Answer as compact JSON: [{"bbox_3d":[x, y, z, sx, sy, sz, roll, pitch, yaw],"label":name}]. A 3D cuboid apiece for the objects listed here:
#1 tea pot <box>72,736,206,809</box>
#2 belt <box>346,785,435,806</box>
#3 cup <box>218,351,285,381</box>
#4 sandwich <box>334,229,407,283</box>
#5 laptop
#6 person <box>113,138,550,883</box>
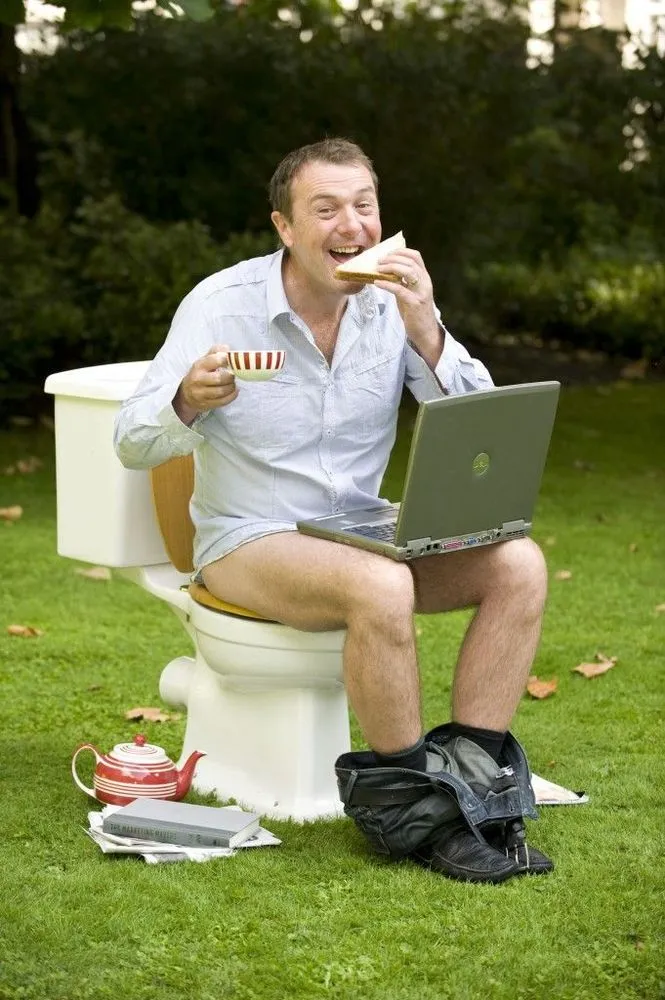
[{"bbox_3d":[-0.399,0.561,2.270,0.235,0.113,0.144,5,-1,5],"label":"tea pot"},{"bbox_3d":[0.091,0.518,1.931,0.095,0.019,0.066,-3,8,8],"label":"belt"},{"bbox_3d":[-0.135,-0.237,1.911,0.096,0.049,0.061,-1,6,-5],"label":"cup"},{"bbox_3d":[0.044,-0.465,2.089,0.155,0.099,0.118,8,15,38],"label":"sandwich"},{"bbox_3d":[0.194,-0.062,2.080,0.405,0.321,0.305,-6,9,-43],"label":"laptop"},{"bbox_3d":[0.001,-0.002,2.140,0.840,1.330,0.884,-6,11,-41],"label":"person"}]
